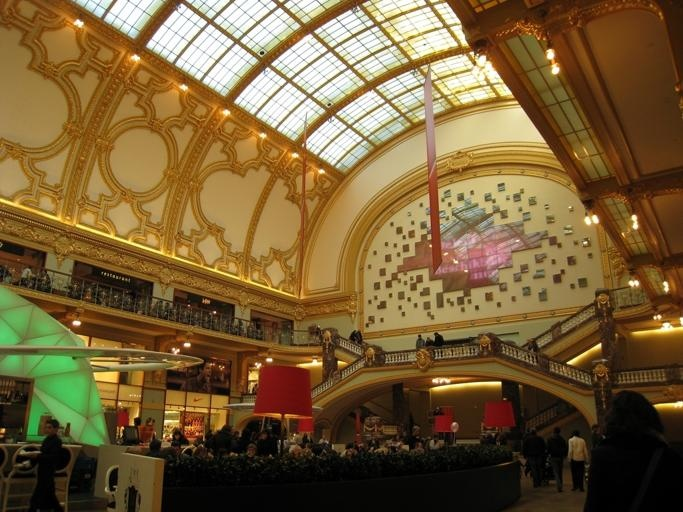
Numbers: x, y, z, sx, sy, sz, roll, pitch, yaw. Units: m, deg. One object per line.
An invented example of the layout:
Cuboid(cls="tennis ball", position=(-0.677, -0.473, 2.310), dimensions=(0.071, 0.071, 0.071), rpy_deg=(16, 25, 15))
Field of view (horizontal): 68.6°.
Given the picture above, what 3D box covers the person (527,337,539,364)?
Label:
Cuboid(cls="person", position=(7.036, 3.518, 18.472), dimensions=(0.303, 0.928, 0.295), rpy_deg=(10, -24, -22))
